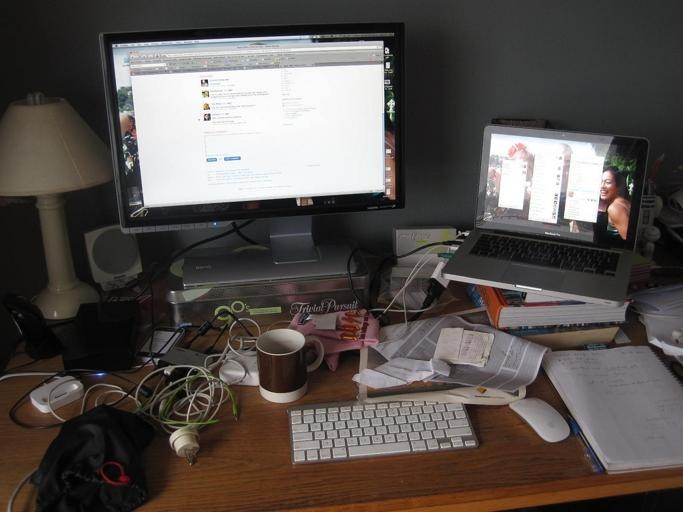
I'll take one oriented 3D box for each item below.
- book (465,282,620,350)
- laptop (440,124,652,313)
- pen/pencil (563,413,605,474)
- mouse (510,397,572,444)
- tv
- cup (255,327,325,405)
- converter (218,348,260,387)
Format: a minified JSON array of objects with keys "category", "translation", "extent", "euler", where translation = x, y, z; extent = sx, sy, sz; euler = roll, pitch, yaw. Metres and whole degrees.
[{"category":"book","translation":[0.453,0.133,1.243],"extent":[0.170,0.041,0.171],"euler":[5,26,11]},{"category":"laptop","translation":[0.482,-0.046,1.379],"extent":[0.491,0.366,0.410],"euler":[12,41,20]},{"category":"pen/pencil","translation":[0.446,0.340,1.042],"extent":[0.019,0.018,0.099],"euler":[-35,40,22]},{"category":"mouse","translation":[0.380,0.301,1.077],"extent":[0.056,0.021,0.091],"euler":[-10,33,-25]},{"category":"tv","translation":[-0.211,-0.244,1.286],"extent":[0.614,0.502,0.200],"euler":[-4,24,-8]},{"category":"cup","translation":[-0.099,0.207,1.189],"extent":[0.164,0.123,0.103],"euler":[-14,32,-32]},{"category":"converter","translation":[-0.206,0.230,1.184],"extent":[0.064,0.025,0.069],"euler":[5,32,-4]}]
